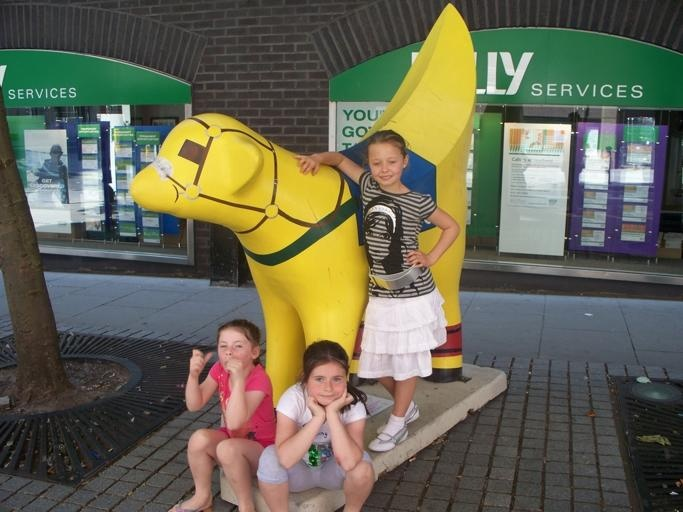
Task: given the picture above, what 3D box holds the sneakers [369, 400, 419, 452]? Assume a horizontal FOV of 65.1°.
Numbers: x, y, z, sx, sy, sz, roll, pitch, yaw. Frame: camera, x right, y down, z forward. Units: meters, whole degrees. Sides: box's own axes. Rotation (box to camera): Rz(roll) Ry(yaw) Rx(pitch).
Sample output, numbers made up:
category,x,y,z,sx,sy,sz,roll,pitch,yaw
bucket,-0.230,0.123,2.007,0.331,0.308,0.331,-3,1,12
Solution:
category,x,y,z,sx,sy,sz,roll,pitch,yaw
sneakers,0.285,0.931,2.941,0.138,0.132,0.348,17,42,35
